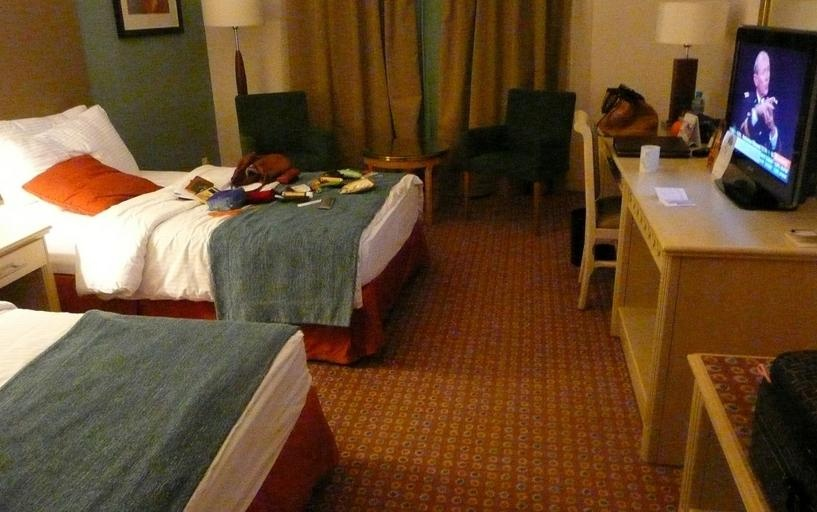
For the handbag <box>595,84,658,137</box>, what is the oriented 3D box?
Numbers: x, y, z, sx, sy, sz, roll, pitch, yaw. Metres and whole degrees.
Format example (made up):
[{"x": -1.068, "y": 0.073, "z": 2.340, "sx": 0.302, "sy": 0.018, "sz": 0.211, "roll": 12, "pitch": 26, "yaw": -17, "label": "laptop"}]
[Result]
[{"x": 1.693, "y": -1.093, "z": 4.640, "sx": 0.505, "sy": 0.376, "sz": 0.453, "roll": 3, "pitch": 7, "yaw": 3, "label": "handbag"}]

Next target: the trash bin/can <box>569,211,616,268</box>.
[{"x": 1.399, "y": -0.149, "z": 4.495, "sx": 0.388, "sy": 0.404, "sz": 0.375, "roll": 1, "pitch": 19, "yaw": 18, "label": "trash bin/can"}]

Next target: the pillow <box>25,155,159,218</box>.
[{"x": -2.129, "y": -0.486, "z": 3.973, "sx": 0.561, "sy": 0.140, "sz": 0.513, "roll": 27, "pitch": 32, "yaw": 14, "label": "pillow"}]

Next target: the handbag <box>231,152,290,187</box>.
[{"x": -1.092, "y": -0.646, "z": 4.424, "sx": 0.424, "sy": 0.143, "sz": 0.243, "roll": -18, "pitch": 28, "yaw": -37, "label": "handbag"}]

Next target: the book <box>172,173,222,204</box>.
[{"x": -1.434, "y": -0.443, "z": 4.056, "sx": 0.241, "sy": 0.075, "sz": 0.236, "roll": 16, "pitch": 40, "yaw": 26, "label": "book"}]
